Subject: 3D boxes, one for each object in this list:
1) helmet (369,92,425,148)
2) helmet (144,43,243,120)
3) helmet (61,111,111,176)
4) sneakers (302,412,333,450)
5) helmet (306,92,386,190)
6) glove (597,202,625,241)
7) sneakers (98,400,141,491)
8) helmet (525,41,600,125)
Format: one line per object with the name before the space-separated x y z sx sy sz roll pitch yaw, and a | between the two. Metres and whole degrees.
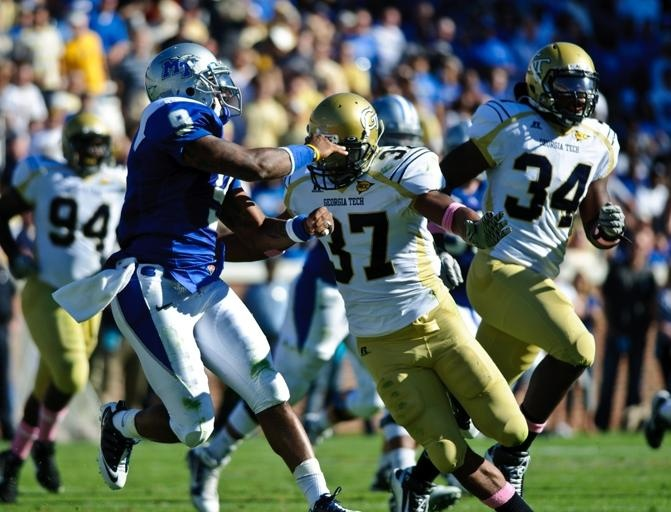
helmet | 0.427 -0.998 7.106 0.410 0.366 0.310 28 29 35
helmet | -0.786 -0.996 5.723 0.560 0.468 0.408 -4 -3 16
helmet | -1.939 -0.885 7.585 0.365 0.457 0.461 -2 11 -41
sneakers | -0.153 1.487 8.335 0.231 0.301 0.562 -4 -3 -2
helmet | 0.047 -0.685 5.604 0.423 0.477 0.577 2 23 18
glove | 1.638 -0.199 5.867 0.160 0.224 0.095 -1 11 8
sneakers | -1.284 1.109 5.756 0.279 0.564 0.183 -13 -10 38
helmet | 1.392 -1.081 6.056 0.426 0.505 0.513 -5 14 -39
